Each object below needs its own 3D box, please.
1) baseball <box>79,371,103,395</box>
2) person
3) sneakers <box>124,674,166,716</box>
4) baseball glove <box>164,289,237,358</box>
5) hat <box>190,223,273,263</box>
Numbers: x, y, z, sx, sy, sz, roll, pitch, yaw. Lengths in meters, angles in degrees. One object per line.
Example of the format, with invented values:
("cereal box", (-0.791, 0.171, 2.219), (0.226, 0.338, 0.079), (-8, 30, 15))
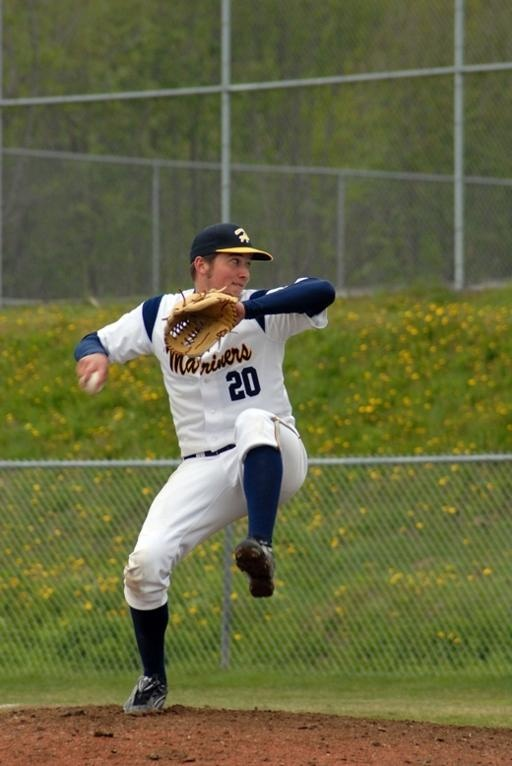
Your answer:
("baseball", (-0.637, -0.001, 6.064), (0.050, 0.084, 0.141), (-4, 19, 22))
("person", (-0.214, 0.405, 6.172), (0.958, 1.925, 0.878), (7, 19, 25))
("sneakers", (-0.434, 1.234, 6.144), (0.166, 0.126, 0.095), (-3, -3, -40))
("baseball glove", (-0.214, -0.216, 5.748), (0.281, 0.226, 0.156), (5, 19, 18))
("hat", (-0.108, -0.534, 6.234), (0.250, 0.149, 0.172), (-6, -4, 25))
